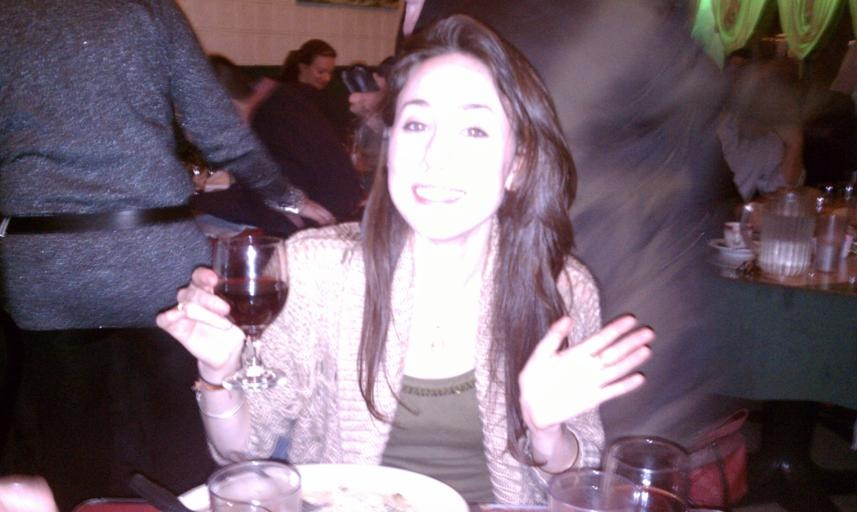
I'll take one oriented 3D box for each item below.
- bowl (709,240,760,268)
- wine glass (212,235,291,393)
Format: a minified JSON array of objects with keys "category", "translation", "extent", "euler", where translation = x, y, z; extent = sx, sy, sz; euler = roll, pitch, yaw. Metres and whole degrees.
[{"category":"bowl","translation":[1.394,-0.007,3.055],"extent":[0.137,0.054,0.130],"euler":[9,20,-3]},{"category":"wine glass","translation":[-0.587,0.219,2.249],"extent":[0.245,0.529,0.327],"euler":[-5,35,-9]}]
